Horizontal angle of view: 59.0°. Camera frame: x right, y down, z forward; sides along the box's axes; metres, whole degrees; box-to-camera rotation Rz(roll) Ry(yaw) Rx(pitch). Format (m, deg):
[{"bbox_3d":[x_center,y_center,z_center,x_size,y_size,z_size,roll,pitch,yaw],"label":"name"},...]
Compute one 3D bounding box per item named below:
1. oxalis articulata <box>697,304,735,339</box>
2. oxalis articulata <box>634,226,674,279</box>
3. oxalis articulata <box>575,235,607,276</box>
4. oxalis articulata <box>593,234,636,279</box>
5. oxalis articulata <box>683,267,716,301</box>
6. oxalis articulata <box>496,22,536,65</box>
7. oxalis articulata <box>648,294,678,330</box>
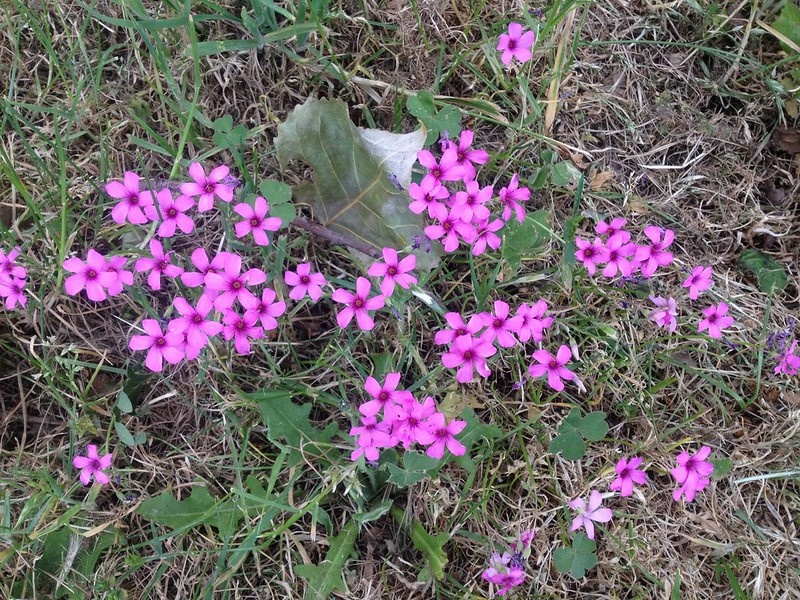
[{"bbox_3d":[1.451,0.095,3.274,0.136,0.143,0.161,10,84,1],"label":"oxalis articulata"},{"bbox_3d":[1.156,-0.223,3.217,0.228,0.085,0.255,-24,115,-16],"label":"oxalis articulata"},{"bbox_3d":[0.873,-0.221,3.223,0.165,0.168,0.043,11,77,38],"label":"oxalis articulata"},{"bbox_3d":[0.991,-0.204,3.257,0.169,0.163,0.205,-1,84,0],"label":"oxalis articulata"},{"bbox_3d":[1.376,-0.093,3.282,0.148,0.052,0.168,8,99,-21],"label":"oxalis articulata"},{"bbox_3d":[0.513,-1.181,3.235,0.188,0.188,0.067,14,83,-14],"label":"oxalis articulata"},{"bbox_3d":[1.218,0.054,3.243,0.140,0.070,0.145,25,122,36],"label":"oxalis articulata"}]
